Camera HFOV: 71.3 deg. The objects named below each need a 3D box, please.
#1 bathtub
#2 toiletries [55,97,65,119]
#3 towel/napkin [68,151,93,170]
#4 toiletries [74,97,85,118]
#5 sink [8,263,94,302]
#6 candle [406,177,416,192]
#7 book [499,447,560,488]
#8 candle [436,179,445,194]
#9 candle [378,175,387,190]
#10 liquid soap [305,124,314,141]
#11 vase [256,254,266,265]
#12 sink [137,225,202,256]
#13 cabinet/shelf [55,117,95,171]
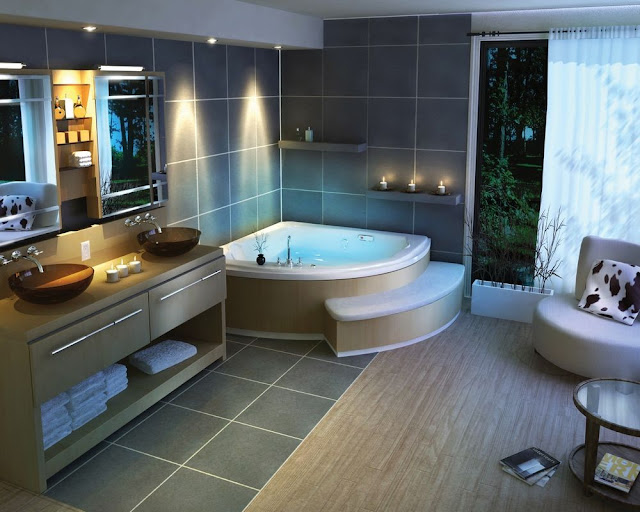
[{"bbox_3d":[0.075,-0.018,4.873,2.162,0.379,1.629,0,15,-1],"label":"bathtub"},{"bbox_3d":[-1.681,-0.961,2.902,0.066,0.110,0.025,-1,9,7],"label":"toiletries"},{"bbox_3d":[-1.636,-0.638,3.055,0.098,0.102,0.140,5,11,22],"label":"towel/napkin"},{"bbox_3d":[-1.621,-0.998,3.000,0.024,0.135,0.090,4,15,17],"label":"toiletries"},{"bbox_3d":[-1.585,0.165,2.654,0.429,0.138,0.562,-9,18,-31],"label":"sink"},{"bbox_3d":[1.048,-0.812,5.102,0.093,0.153,0.149,2,15,8],"label":"candle"},{"bbox_3d":[1.255,1.239,2.642,0.354,0.032,0.240,-8,17,-26],"label":"book"},{"bbox_3d":[1.349,-0.766,4.982,0.105,0.144,0.149,4,15,15],"label":"candle"},{"bbox_3d":[0.740,-0.854,5.233,0.102,0.146,0.105,3,15,13],"label":"candle"},{"bbox_3d":[-0.132,-1.490,5.411,0.114,0.198,0.110,-1,14,-4],"label":"liquid soap"},{"bbox_3d":[-0.552,0.028,4.271,0.090,0.120,0.095,2,12,9],"label":"vase"},{"bbox_3d":[-1.191,-0.117,3.536,0.464,0.161,0.596,-5,16,-16],"label":"sink"},{"bbox_3d":[-1.654,-0.761,2.993,0.094,0.333,0.342,2,9,17],"label":"cabinet/shelf"}]
